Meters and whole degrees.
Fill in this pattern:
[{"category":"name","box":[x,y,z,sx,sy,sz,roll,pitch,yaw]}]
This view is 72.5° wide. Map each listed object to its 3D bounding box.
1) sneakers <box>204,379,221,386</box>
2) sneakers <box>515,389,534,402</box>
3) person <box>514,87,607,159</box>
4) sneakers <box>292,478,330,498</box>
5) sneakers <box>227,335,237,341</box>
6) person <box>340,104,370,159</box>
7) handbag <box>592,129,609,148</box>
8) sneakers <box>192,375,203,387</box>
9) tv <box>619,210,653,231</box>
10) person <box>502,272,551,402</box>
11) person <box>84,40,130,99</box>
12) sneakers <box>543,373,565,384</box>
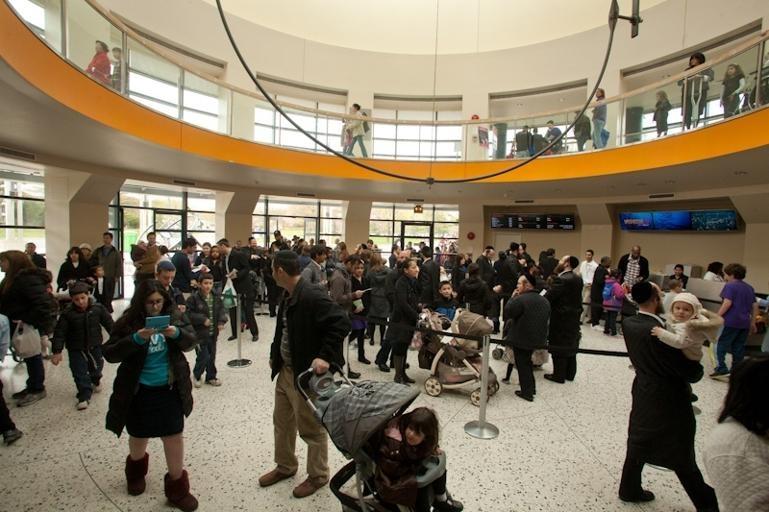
[{"category":"sneakers","box":[-2.922,2.119,8.885,0.254,0.077,0.099,0,0,17]},{"category":"sneakers","box":[2.334,2.314,8.809,0.121,0.123,0.305,-5,9,-41]},{"category":"person","box":[4.201,-3.106,13.474,0.646,1.027,2.078,-2,1,-39]},{"category":"sneakers","box":[-1.001,3.012,6.988,0.492,0.188,0.174,-1,17,-33]},{"category":"sneakers","box":[-3.180,1.677,10.873,0.206,0.139,0.074,7,1,-7]},{"category":"person","box":[-0.787,-3.281,14.192,0.751,1.175,0.417,-1,1,-5]},{"category":"handbag","box":[5.246,-2.778,12.854,0.352,0.610,0.625,2,5,14]},{"category":"sneakers","box":[-3.176,2.103,8.835,0.092,0.114,0.272,2,-3,-45]},{"category":"tv","box":[7.493,-1.069,15.650,0.244,0.577,1.058,-1,1,-23]},{"category":"person","box":[2.368,1.340,8.762,0.735,2.078,1.506,0,1,15]},{"category":"person","box":[-5.045,-3.466,9.590,0.189,0.747,0.932,0,1,12]},{"category":"sneakers","box":[3.040,2.174,9.447,0.132,0.142,0.359,-8,13,-33]}]
